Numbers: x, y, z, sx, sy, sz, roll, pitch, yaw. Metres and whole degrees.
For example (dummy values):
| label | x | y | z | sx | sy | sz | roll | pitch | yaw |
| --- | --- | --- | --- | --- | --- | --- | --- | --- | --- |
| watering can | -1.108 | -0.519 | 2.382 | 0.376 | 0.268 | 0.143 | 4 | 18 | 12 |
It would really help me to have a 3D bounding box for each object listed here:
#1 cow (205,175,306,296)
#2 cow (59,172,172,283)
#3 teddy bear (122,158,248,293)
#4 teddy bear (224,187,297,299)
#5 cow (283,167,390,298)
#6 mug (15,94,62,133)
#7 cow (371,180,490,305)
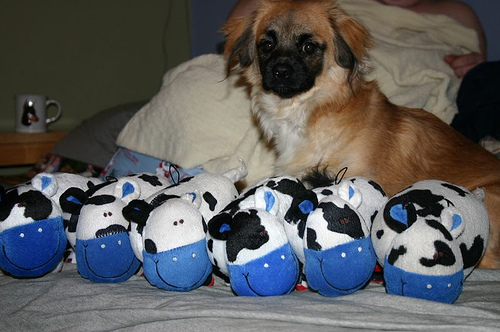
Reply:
| label | x | y | z | sx | sy | sz | roll | pitch | yaw |
| --- | --- | --- | --- | --- | --- | --- | --- | --- | --- |
| cow | 0.046 | 0.276 | 2.108 | 0.315 | 0.393 | 0.533 | -31 | 11 | 30 |
| cow | -0.696 | 0.199 | 2.327 | 0.439 | 0.449 | 0.756 | -2 | 24 | -11 |
| teddy bear | -0.289 | 0.252 | 2.134 | 0.318 | 0.294 | 0.619 | -14 | 18 | 33 |
| teddy bear | 0.035 | 0.334 | 1.968 | 0.233 | 0.224 | 0.419 | -16 | 58 | 15 |
| cow | 0.378 | 0.294 | 2.091 | 0.496 | 0.432 | 0.644 | -8 | 29 | 13 |
| mug | -1.815 | -0.452 | 3.966 | 0.396 | 0.325 | 0.229 | -1 | 9 | -26 |
| cow | 0.794 | 0.286 | 2.098 | 0.514 | 0.445 | 0.702 | 6 | 30 | 17 |
